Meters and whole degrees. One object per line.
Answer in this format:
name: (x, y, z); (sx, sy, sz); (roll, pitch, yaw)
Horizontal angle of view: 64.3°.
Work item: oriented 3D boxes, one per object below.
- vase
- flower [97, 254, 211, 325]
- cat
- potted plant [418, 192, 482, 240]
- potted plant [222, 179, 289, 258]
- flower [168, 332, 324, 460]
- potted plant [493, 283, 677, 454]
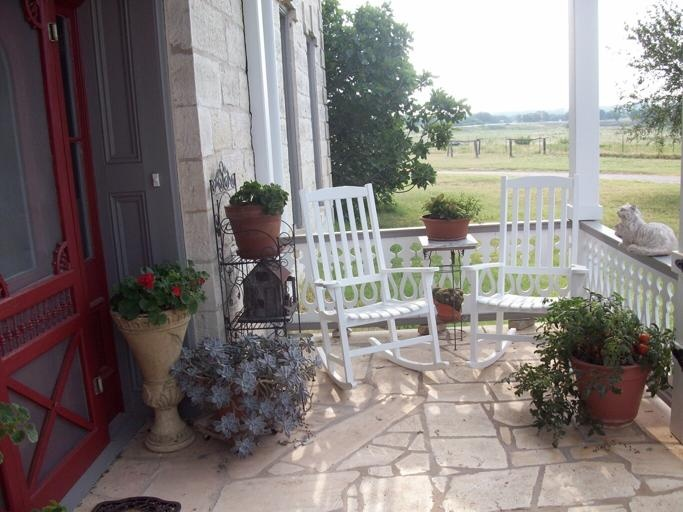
vase: (-1.137, 0.771, 3.458); (0.501, 0.838, 0.443); (-7, 2, -42)
flower: (-1.069, 0.200, 3.383); (0.413, 0.318, 0.474); (22, 5, 39)
cat: (2.109, -0.198, 3.770); (0.404, 0.356, 0.309); (6, 9, 40)
potted plant: (0.874, -0.305, 4.571); (0.377, 0.336, 0.410); (-6, 22, -2)
potted plant: (-0.565, -0.236, 3.756); (0.447, 0.624, 0.477); (0, 2, -5)
flower: (-0.713, 0.917, 3.580); (0.763, 0.710, 0.943); (18, -18, -25)
potted plant: (1.675, 0.615, 3.544); (0.684, 0.701, 0.814); (-18, 2, -16)
